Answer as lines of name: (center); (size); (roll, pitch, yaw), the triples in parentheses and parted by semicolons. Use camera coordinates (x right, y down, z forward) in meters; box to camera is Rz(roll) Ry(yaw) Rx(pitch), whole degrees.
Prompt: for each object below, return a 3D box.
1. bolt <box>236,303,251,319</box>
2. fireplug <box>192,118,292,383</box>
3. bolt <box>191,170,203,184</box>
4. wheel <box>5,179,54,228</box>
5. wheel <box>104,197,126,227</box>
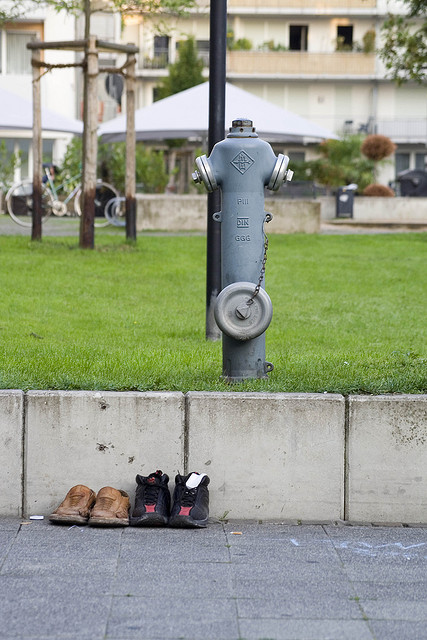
bolt: (0.164, -0.060, 8.426); (0.079, 0.081, 0.028); (0, 6, 1)
fireplug: (0.164, -0.395, 8.593); (0.554, 1.470, 0.431); (0, 6, 3)
bolt: (-0.096, -0.822, 8.652); (0.050, 0.065, 0.056); (-18, 41, -2)
wheel: (-1.277, -0.821, 10.581); (0.332, 0.324, 0.177); (-1, 7, -7)
wheel: (-0.703, -0.799, 11.037); (0.163, 0.221, 0.039); (-6, -5, -19)
